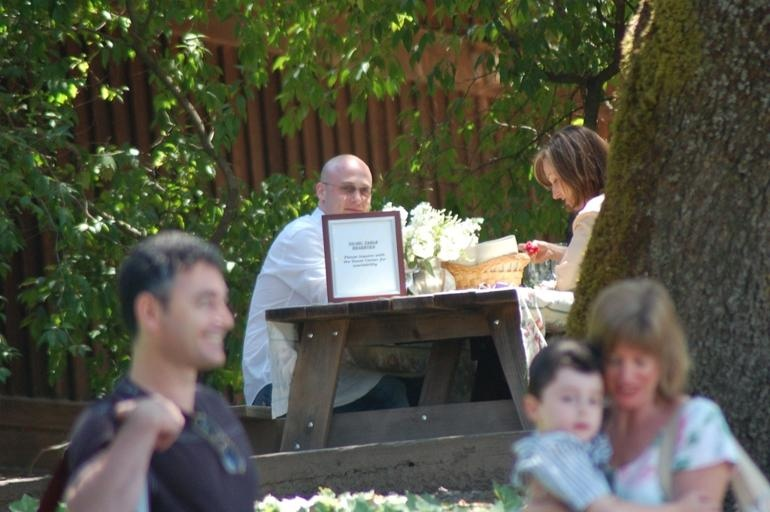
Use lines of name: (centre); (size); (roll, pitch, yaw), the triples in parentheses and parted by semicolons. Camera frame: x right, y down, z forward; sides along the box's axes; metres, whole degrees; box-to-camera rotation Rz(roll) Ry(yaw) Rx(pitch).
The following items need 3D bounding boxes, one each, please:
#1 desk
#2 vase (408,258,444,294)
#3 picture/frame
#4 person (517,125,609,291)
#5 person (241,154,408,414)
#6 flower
desk: (0.109, 0.695, 7.036); (1.548, 0.898, 0.844); (-3, -3, 6)
vase: (0.272, 0.115, 7.328); (0.201, 0.308, 0.198); (-3, 5, -39)
picture/frame: (-0.134, 0.014, 6.933); (0.442, 0.557, 0.054); (-3, -9, -4)
person: (1.278, -0.339, 7.654); (0.594, 1.155, 1.248); (-2, -3, -8)
person: (-0.411, 0.567, 7.987); (1.241, 2.511, 0.959); (0, 2, 15)
flower: (0.356, -0.123, 7.374); (0.499, 0.394, 0.490); (5, -2, -38)
